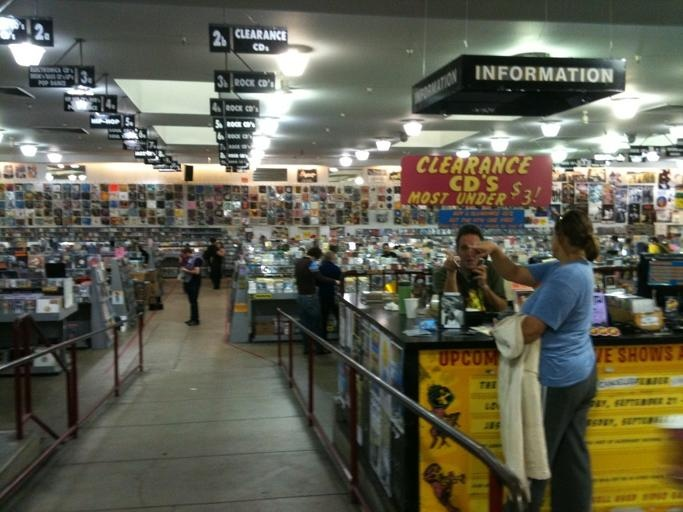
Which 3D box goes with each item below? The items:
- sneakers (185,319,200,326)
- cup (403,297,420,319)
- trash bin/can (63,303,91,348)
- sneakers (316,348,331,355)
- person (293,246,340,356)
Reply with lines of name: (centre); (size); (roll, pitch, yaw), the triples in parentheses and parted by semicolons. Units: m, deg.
sneakers: (-3.040, 1.314, 12.005); (0.232, 0.087, 0.111); (4, 2, 8)
cup: (0.506, 0.370, 4.409); (0.100, 0.132, 0.189); (0, 4, 5)
trash bin/can: (-4.580, 1.186, 10.333); (0.448, 0.758, 0.543); (10, -6, -24)
sneakers: (-0.306, 1.422, 9.086); (0.189, 0.075, 0.228); (-2, 4, -20)
person: (-0.441, 0.516, 9.239); (0.560, 1.329, 0.372); (-1, 3, -5)
